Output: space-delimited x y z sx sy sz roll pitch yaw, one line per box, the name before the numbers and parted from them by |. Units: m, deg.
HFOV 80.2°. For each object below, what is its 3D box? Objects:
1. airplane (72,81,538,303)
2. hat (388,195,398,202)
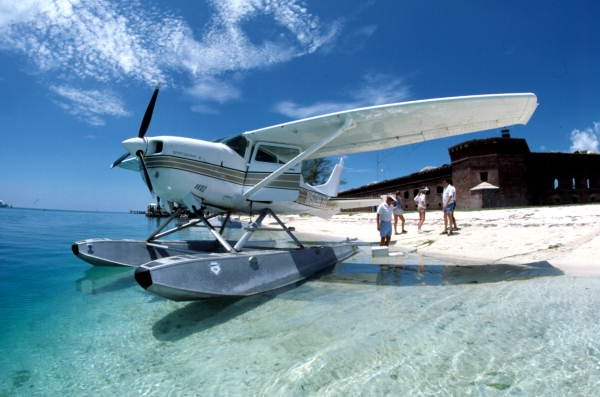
airplane | -0.383 -0.153 7.632 5.710 2.485 7.086 12 -18 -41
hat | 2.821 -0.011 10.903 0.276 0.234 0.129 2 4 -37
